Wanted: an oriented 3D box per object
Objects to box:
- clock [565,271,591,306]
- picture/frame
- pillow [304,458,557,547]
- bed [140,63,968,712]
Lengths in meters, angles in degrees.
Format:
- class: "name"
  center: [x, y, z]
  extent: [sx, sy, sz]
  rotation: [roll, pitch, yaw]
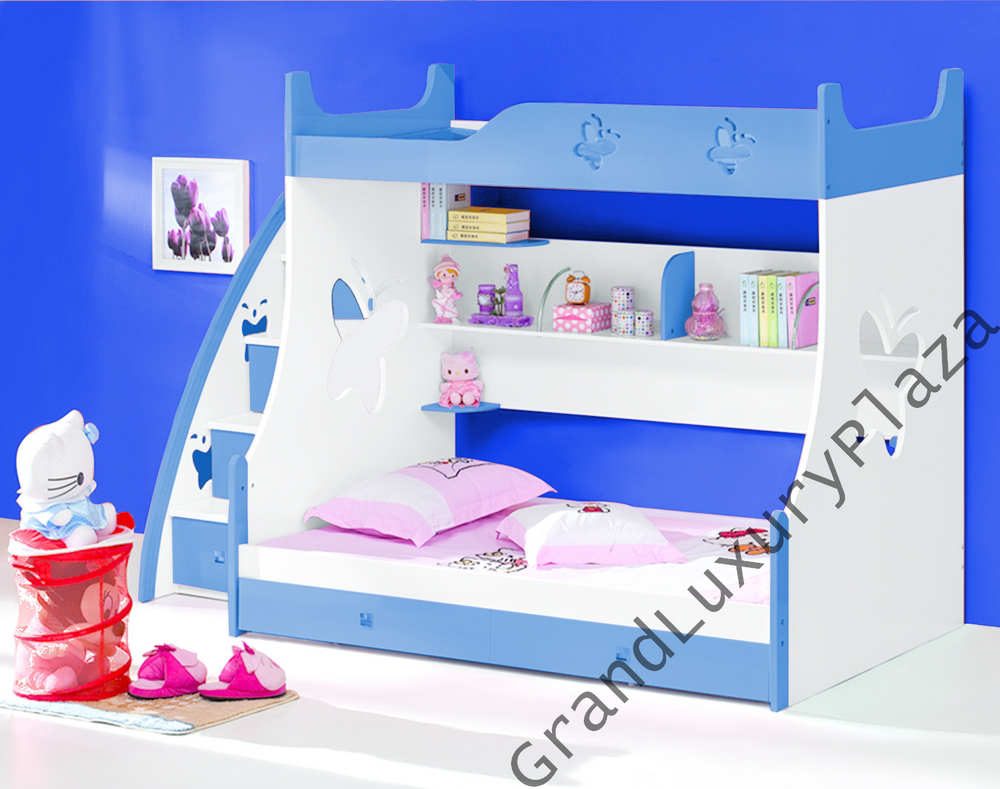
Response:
- class: "clock"
  center: [0.338, -0.457, 4.149]
  extent: [0.134, 0.170, 0.083]
  rotation: [4, 10, 26]
- class: "picture/frame"
  center: [-1.515, -0.935, 4.934]
  extent: [0.625, 0.671, 0.055]
  rotation: [2, 2, 21]
- class: "pillow"
  center: [-0.229, 0.411, 4.070]
  extent: [0.395, 0.164, 0.632]
  rotation: [0, 7, 36]
- class: "bed"
  center: [0.287, 0.010, 3.751]
  extent: [2.187, 1.754, 1.230]
  rotation: [3, 8, 36]
